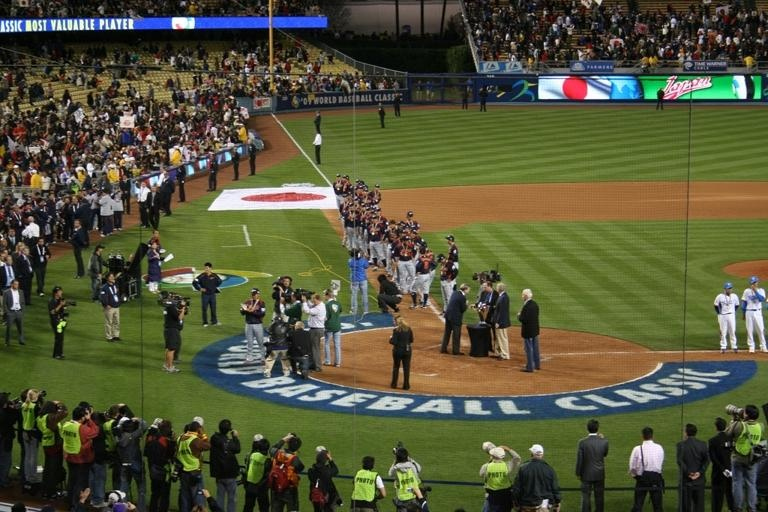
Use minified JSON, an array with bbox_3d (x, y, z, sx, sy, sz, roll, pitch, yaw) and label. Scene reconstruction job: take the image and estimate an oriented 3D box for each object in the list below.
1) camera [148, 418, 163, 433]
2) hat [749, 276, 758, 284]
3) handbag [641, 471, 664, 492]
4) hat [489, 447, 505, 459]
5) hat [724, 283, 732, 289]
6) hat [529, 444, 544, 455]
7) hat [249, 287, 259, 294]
[{"bbox_3d":[-6.274,4.687,35.678,0.342,0.182,0.518,9,40,26],"label":"camera"},{"bbox_3d":[12.073,0.765,41.476,0.312,0.264,0.222,-7,42,19],"label":"hat"},{"bbox_3d":[7.384,6.178,35.046,0.626,0.515,0.436,0,1,1],"label":"handbag"},{"bbox_3d":[3.105,5.336,34.693,0.476,0.345,0.298,0,1,-12],"label":"hat"},{"bbox_3d":[11.520,0.979,42.572,0.229,0.202,0.279,-27,9,-30],"label":"hat"},{"bbox_3d":[4.207,5.222,34.676,0.340,0.226,0.454,1,2,-2],"label":"hat"},{"bbox_3d":[-4.445,1.181,43.896,0.279,0.129,0.309,0,4,5],"label":"hat"}]
